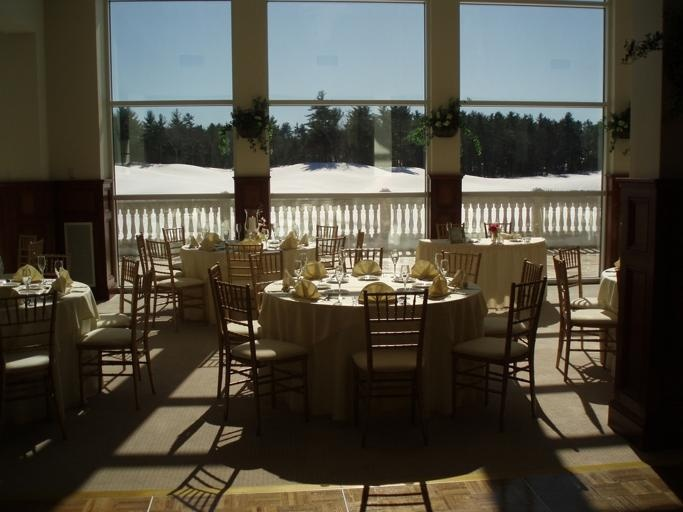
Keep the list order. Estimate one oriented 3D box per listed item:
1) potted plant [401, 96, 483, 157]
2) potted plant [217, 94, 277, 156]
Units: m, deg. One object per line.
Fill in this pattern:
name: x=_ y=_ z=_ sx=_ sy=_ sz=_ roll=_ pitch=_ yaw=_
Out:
potted plant: x=1.738 y=-2.273 z=9.415 sx=0.767 sy=0.436 sz=0.885 roll=-11 pitch=28 yaw=-26
potted plant: x=-1.568 y=-2.197 z=9.421 sx=0.862 sy=0.953 sz=0.678 roll=-3 pitch=12 yaw=-9
